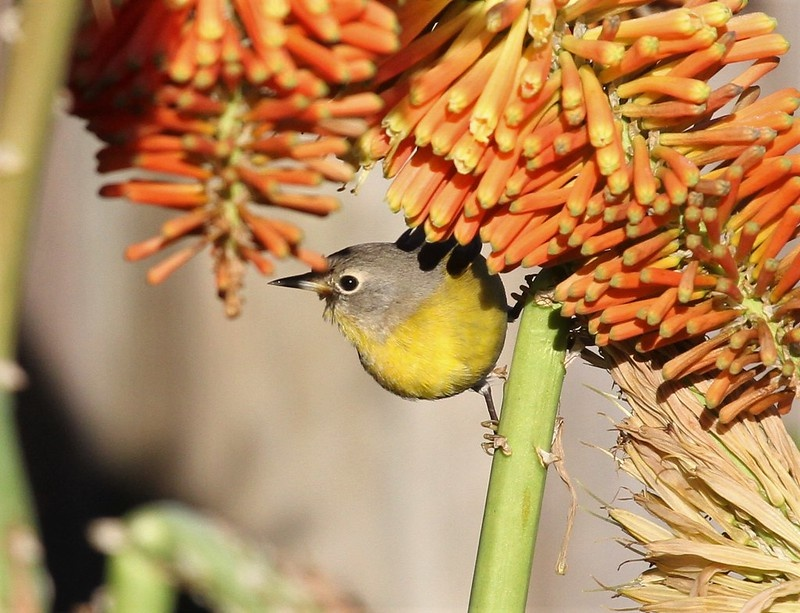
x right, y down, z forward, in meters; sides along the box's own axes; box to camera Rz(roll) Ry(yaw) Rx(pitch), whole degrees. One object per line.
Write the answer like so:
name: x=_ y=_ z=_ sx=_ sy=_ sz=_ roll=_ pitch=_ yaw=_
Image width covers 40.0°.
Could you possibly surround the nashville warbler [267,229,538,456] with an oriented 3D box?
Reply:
nashville warbler: x=0.016 y=0.019 z=0.705 sx=0.196 sy=0.125 sz=0.102 roll=-17 pitch=12 yaw=-40
